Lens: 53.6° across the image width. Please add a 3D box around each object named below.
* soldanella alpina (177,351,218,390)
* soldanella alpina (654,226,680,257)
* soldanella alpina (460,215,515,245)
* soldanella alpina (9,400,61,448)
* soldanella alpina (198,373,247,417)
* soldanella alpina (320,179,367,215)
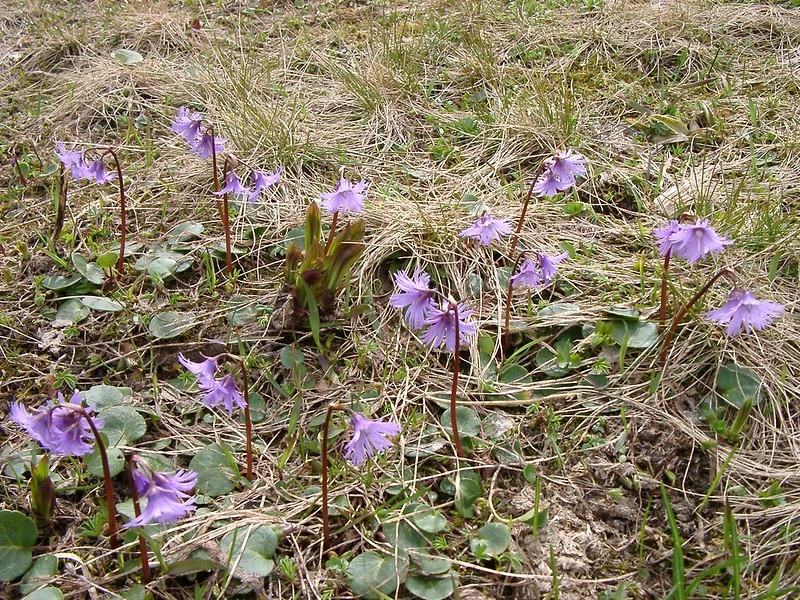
[{"bbox_3d":[-0.793,0.284,3.158,0.132,0.219,0.091,-5,42,0],"label":"soldanella alpina"},{"bbox_3d":[1.177,-0.272,3.483,0.121,0.134,0.107,-9,-12,43],"label":"soldanella alpina"},{"bbox_3d":[0.379,-0.355,3.704,0.197,0.108,0.206,-11,23,-20],"label":"soldanella alpina"},{"bbox_3d":[-1.350,0.470,3.012,0.182,0.196,0.088,-5,30,51],"label":"soldanella alpina"},{"bbox_3d":[-0.751,0.402,3.342,0.169,0.179,0.145,-33,4,6],"label":"soldanella alpina"},{"bbox_3d":[-0.257,-0.466,3.619,0.196,0.215,0.116,-1,42,4],"label":"soldanella alpina"}]
